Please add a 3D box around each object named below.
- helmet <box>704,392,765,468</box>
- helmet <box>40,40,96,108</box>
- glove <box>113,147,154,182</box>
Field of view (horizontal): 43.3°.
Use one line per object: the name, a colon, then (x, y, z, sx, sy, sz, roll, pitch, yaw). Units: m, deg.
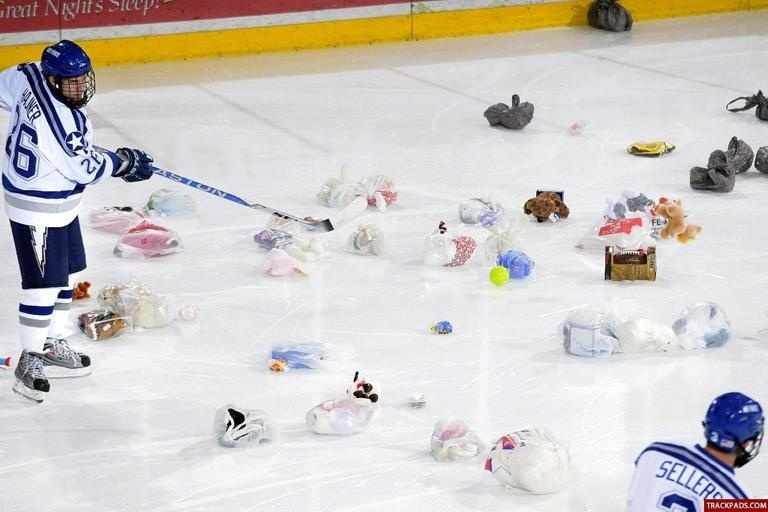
helmet: (1.611, 0.806, 4.430, 0.261, 0.340, 0.129, -1, 8, 1)
helmet: (-1.948, -1.118, 5.928, 0.301, 0.424, 0.197, -4, 8, -17)
glove: (-1.670, -0.592, 6.264, 0.294, 0.107, 0.192, 17, 43, 15)
